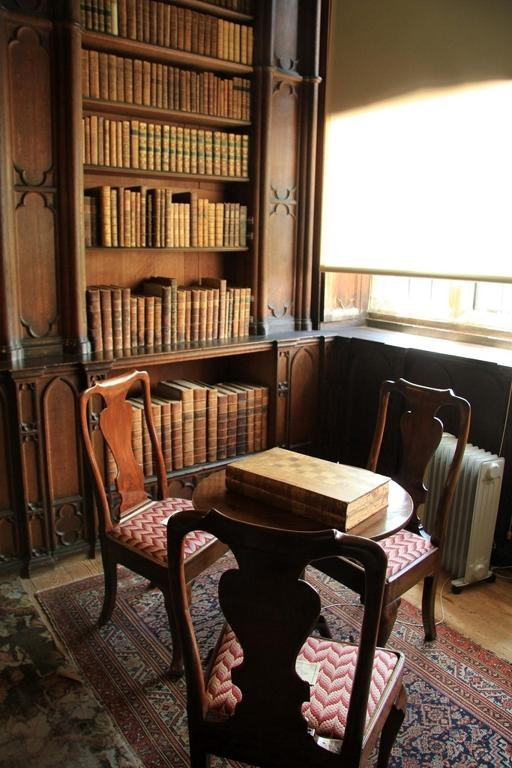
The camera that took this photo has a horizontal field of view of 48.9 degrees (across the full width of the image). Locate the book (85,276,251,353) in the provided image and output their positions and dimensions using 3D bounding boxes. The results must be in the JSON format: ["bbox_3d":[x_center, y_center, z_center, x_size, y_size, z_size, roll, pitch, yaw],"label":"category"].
[{"bbox_3d":[-0.429,-0.357,2.853,0.340,0.359,0.988,10,13,43],"label":"book"}]
